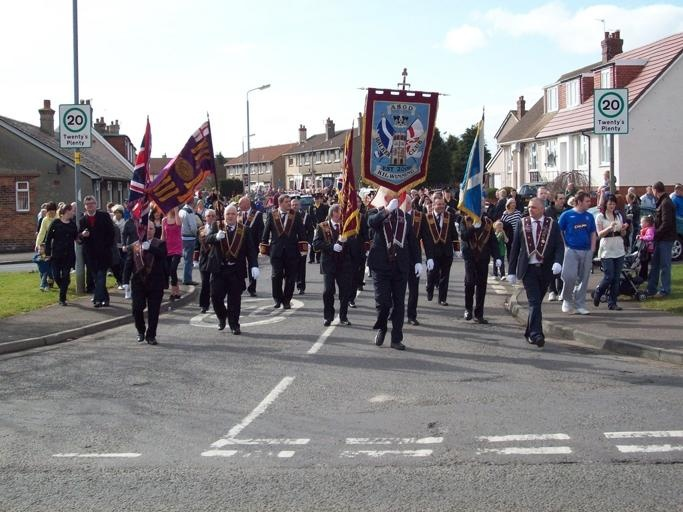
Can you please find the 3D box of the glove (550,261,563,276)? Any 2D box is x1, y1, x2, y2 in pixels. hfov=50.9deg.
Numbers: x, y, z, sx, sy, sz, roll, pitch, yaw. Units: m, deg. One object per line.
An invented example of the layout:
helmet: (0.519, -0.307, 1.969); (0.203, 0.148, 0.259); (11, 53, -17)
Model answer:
glove: (3.488, 0.194, 11.632); (0.146, 0.207, 0.311); (1, 6, 12)

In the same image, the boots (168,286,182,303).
boots: (-3.716, 0.843, 15.991); (0.186, 0.459, 0.438); (2, 18, 8)

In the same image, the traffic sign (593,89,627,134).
traffic sign: (5.112, -2.770, 13.589); (0.710, 1.186, 0.043); (0, 4, 0)

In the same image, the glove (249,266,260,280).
glove: (-1.531, 0.332, 12.612); (0.175, 0.273, 0.239); (2, 44, -4)

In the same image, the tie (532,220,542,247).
tie: (3.185, -0.380, 11.657); (0.187, 0.393, 0.107); (-4, 6, -33)

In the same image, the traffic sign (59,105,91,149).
traffic sign: (-5.781, -2.851, 15.547); (0.650, 0.964, 0.522); (-3, 6, -25)

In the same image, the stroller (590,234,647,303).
stroller: (6.073, 0.324, 15.064); (1.007, 1.704, 1.042); (2, 9, 9)

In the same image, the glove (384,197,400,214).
glove: (0.789, -0.815, 11.515); (0.203, 0.141, 0.308); (-12, 3, 3)

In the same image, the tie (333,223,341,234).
tie: (-0.096, -0.529, 13.328); (0.124, 0.208, 0.064); (0, -10, -43)

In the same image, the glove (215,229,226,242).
glove: (-2.084, -0.355, 12.348); (0.181, 0.175, 0.163); (-3, 6, -18)

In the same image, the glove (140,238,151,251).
glove: (-3.216, -0.179, 11.764); (0.149, 0.168, 0.116); (-2, 5, -10)
